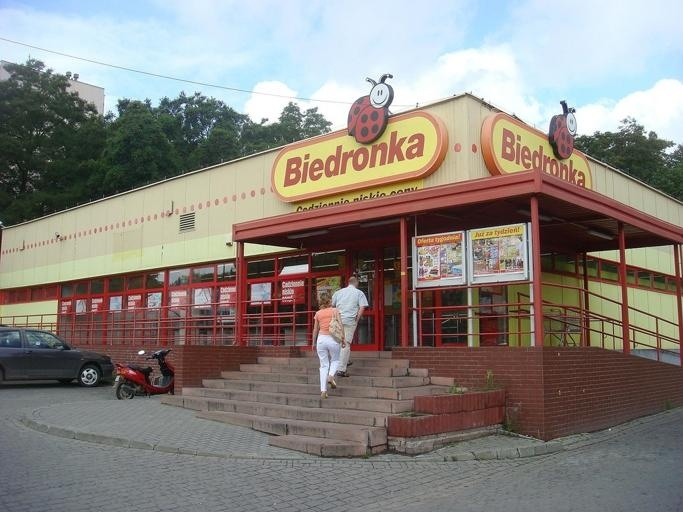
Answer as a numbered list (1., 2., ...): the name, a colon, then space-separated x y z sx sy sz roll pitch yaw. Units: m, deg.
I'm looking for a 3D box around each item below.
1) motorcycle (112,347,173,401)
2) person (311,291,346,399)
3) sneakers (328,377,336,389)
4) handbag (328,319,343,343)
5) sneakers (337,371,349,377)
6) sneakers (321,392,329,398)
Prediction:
1. motorcycle: -4.987 3.129 15.087 0.912 1.223 1.940 -13 -17 38
2. person: -0.254 1.759 11.386 0.623 2.010 0.775 2 -4 -2
3. sneakers: -0.169 2.459 11.149 0.136 0.133 0.308 -3 -17 11
4. handbag: -0.117 1.465 11.128 0.379 0.494 0.240 -7 -19 12
5. sneakers: 0.082 2.428 11.852 0.316 0.123 0.103 2 -3 -19
6. sneakers: -0.323 2.680 11.100 0.137 0.122 0.132 -1 -8 6
